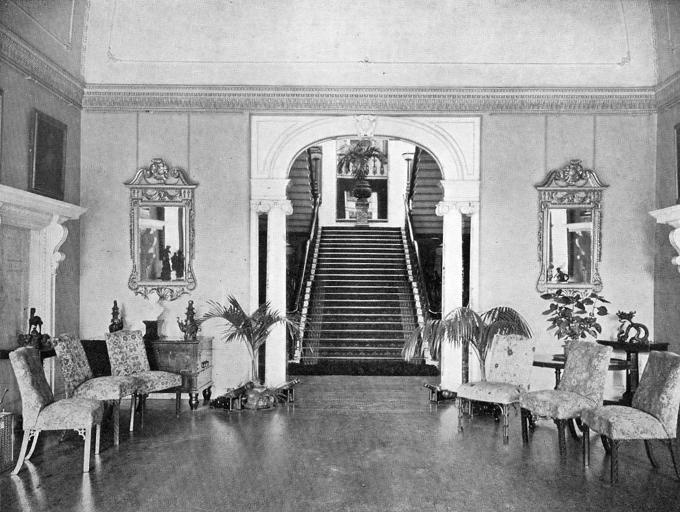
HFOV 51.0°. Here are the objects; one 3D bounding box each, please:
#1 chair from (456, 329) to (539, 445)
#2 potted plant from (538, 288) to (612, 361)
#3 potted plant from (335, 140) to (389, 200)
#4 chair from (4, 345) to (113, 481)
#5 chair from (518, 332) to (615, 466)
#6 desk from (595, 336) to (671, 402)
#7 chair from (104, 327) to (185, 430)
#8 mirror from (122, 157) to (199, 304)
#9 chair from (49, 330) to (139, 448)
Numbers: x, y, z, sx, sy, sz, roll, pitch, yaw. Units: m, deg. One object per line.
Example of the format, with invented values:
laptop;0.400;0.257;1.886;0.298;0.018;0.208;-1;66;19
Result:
chair;1.920;1.535;8.657;0.657;1.185;0.796;5;5;41
potted plant;3.241;0.900;9.708;0.876;0.993;0.941;1;-7;-3
potted plant;0.482;-2.214;18.270;1.080;1.191;0.957;-2;2;34
chair;-3.043;1.558;7.756;0.890;1.365;0.853;0;6;-17
chair;2.491;1.564;7.935;0.762;1.184;0.772;6;-5;-27
desk;3.858;1.561;9.615;0.926;0.826;0.976;6;-9;-38
chair;-2.485;1.525;9.062;0.694;1.156;0.642;-3;4;19
mirror;-2.627;-0.336;10.525;1.057;2.254;0.173;-1;24;-17
chair;-2.858;1.571;8.434;0.793;1.244;0.771;0;-1;-8
